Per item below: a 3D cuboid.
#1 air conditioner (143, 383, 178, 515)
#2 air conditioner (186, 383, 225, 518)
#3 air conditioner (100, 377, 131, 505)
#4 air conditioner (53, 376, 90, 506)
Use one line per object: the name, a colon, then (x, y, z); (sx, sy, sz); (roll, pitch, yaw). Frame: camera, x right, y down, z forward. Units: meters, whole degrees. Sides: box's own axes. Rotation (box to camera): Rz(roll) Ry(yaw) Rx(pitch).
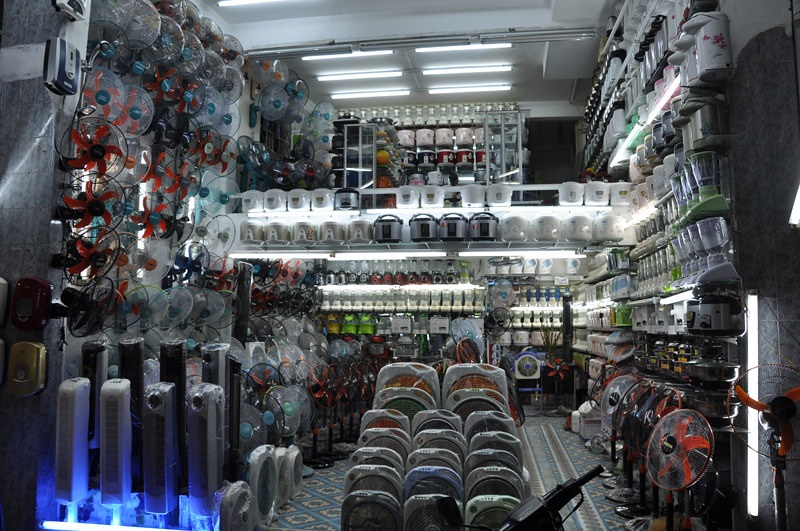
air conditioner: (-1.926, 1.476, 4.945); (0.310, 1.013, 0.181); (5, -11, -22)
air conditioner: (-1.581, 1.491, 4.972); (0.315, 1.043, 0.246); (4, -10, -17)
air conditioner: (-2.304, 1.429, 4.979); (0.244, 0.984, 0.172); (0, -10, 3)
air conditioner: (-2.679, 1.430, 5.024); (0.282, 0.997, 0.257); (5, -11, -22)
